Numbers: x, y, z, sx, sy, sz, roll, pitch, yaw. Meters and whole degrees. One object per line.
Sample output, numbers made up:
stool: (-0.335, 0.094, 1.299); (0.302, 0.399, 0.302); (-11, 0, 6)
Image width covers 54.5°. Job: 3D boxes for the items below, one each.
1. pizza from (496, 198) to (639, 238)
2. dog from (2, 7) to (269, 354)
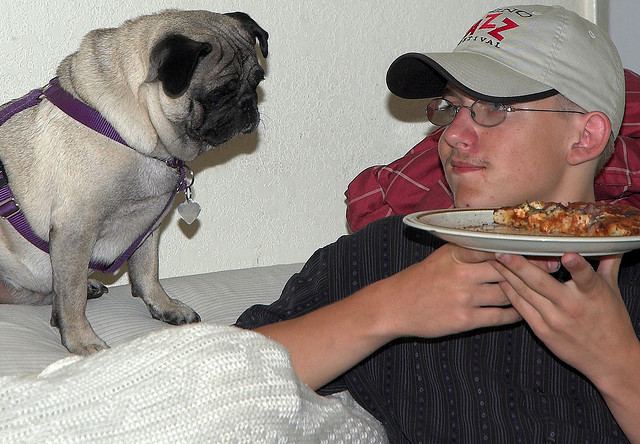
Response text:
pizza: (0.546, -0.014, 1.333); (0.280, 0.040, 0.189); (11, 21, 40)
dog: (-0.585, -0.148, 1.890); (0.871, 0.948, 0.552); (-5, 15, -9)
